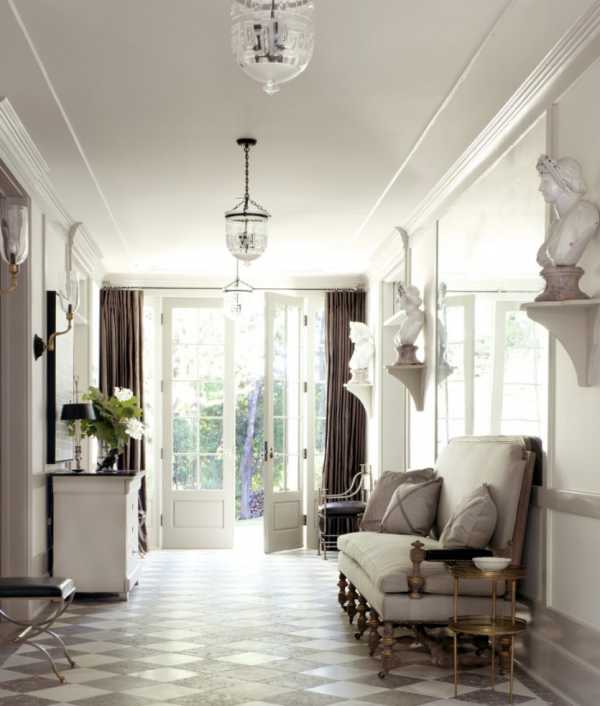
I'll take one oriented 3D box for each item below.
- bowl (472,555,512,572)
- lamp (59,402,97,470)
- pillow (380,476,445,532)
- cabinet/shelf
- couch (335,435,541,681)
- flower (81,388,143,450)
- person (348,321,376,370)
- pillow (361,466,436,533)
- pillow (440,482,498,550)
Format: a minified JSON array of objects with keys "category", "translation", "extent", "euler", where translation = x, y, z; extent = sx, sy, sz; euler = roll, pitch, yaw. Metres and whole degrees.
[{"category":"bowl","translation":[0.821,0.912,2.677],"extent":[0.155,0.060,0.095],"euler":[-1,-11,4]},{"category":"lamp","translation":[-1.900,0.740,5.324],"extent":[0.261,0.562,0.981],"euler":[3,-11,-19]},{"category":"pillow","translation":[0.707,1.047,4.184],"extent":[0.275,0.417,0.477],"euler":[15,-17,-28]},{"category":"cabinet/shelf","translation":[-1.541,1.350,5.243],"extent":[0.768,1.175,1.212],"euler":[-1,-5,-8]},{"category":"couch","translation":[0.730,1.177,3.770],"extent":[0.794,1.299,1.861],"euler":[4,-12,-1]},{"category":"flower","translation":[-1.628,0.565,5.752],"extent":[0.610,0.654,0.622],"euler":[5,4,-13]},{"category":"person","translation":[0.736,-0.075,7.716],"extent":[0.427,0.854,0.553],"euler":[1,-1,4]},{"category":"pillow","translation":[0.713,1.099,4.451],"extent":[0.139,0.472,0.472],"euler":[25,-21,-20]},{"category":"pillow","translation":[0.817,0.805,3.044],"extent":[0.274,0.298,0.355],"euler":[-3,-11,13]}]
